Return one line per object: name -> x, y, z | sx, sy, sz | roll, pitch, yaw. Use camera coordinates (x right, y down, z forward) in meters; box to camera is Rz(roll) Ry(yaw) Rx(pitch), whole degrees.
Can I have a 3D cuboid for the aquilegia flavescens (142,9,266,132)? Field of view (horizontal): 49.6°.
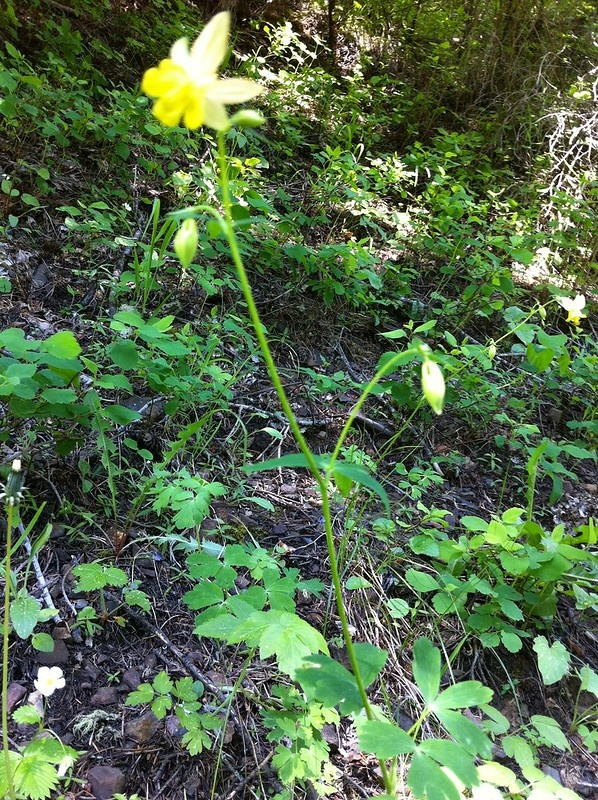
aquilegia flavescens -> -0.148, -0.588, 1.108 | 0.139, 0.072, 0.133 | 60, 2, 6
